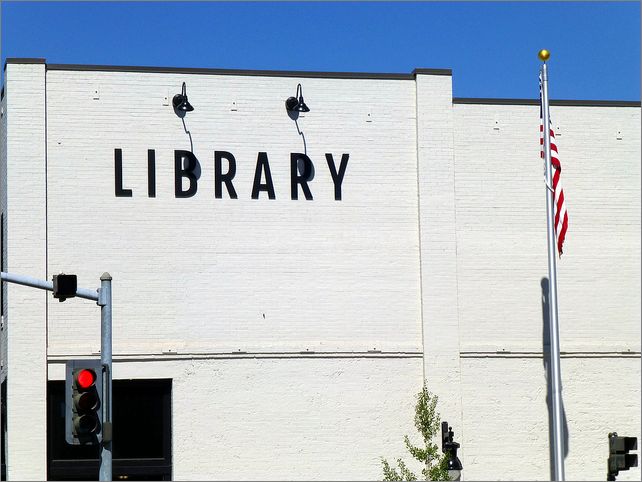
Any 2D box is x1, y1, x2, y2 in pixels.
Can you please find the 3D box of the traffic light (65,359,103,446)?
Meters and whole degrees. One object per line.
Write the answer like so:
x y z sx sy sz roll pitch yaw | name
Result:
-6.208 4.181 53.231 0.933 2.212 0.595 0 -12 -7 | traffic light

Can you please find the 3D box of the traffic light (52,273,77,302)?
-6.812 1.122 54.112 0.612 0.729 0.552 0 -11 -6 | traffic light

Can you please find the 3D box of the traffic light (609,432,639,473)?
8.700 6.091 58.684 1.034 1.324 0.889 0 -3 5 | traffic light
